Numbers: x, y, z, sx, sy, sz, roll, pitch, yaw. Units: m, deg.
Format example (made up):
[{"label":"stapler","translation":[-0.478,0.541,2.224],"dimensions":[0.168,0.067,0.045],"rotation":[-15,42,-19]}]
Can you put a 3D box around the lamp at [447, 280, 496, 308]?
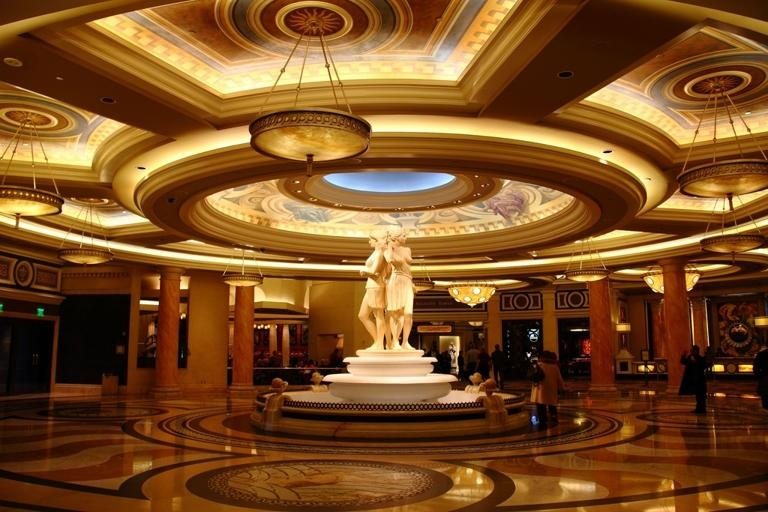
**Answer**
[{"label":"lamp","translation":[3.663,1.625,21.711],"dimensions":[1.952,0.692,1.857],"rotation":[11,-17,-41]}]

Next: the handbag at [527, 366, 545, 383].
[{"label":"handbag","translation":[3.405,2.642,11.157],"dimensions":[0.465,0.305,0.431],"rotation":[3,-15,-10]}]

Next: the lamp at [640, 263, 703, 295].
[{"label":"lamp","translation":[10.359,0.836,18.355],"dimensions":[2.047,0.536,1.589],"rotation":[1,-10,1]}]

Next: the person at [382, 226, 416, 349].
[{"label":"person","translation":[0.347,0.747,11.699],"dimensions":[0.676,2.836,0.720],"rotation":[0,-14,0]}]

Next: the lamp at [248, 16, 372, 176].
[{"label":"lamp","translation":[-1.095,-2.333,7.495],"dimensions":[1.657,2.211,1.601],"rotation":[3,-13,-12]}]
